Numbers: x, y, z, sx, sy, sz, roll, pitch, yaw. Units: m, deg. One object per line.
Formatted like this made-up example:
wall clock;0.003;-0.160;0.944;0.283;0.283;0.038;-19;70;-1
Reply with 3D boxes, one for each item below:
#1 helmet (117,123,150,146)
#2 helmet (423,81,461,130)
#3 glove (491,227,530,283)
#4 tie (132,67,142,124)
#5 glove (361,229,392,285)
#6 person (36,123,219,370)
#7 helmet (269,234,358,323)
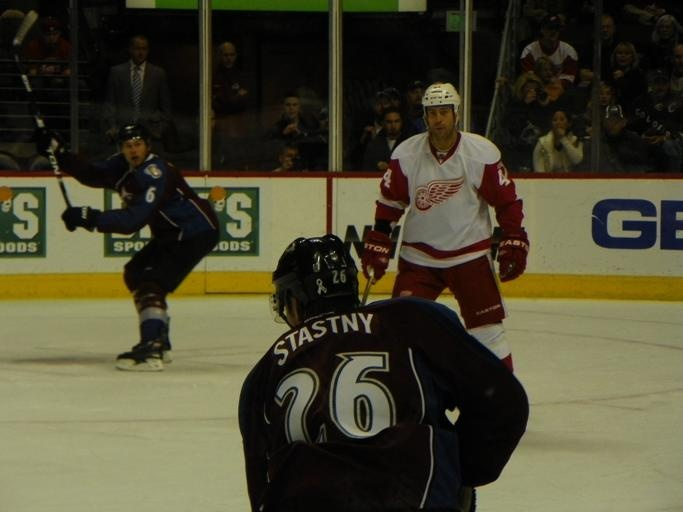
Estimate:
helmet;-1.575;-0.909;8.093;0.221;0.144;0.186;-2;10;-13
helmet;0.652;-0.962;6.734;0.213;0.282;0.272;-1;7;14
glove;1.090;0.001;6.867;0.195;0.335;0.112;4;-10;10
tie;-2.119;-1.677;11.157;0.131;0.578;0.150;-2;10;-11
glove;0.235;0.015;6.898;0.187;0.321;0.088;14;-6;24
person;-1.556;-0.096;8.098;1.182;1.746;0.945;0;10;1
helmet;-0.132;0.078;4.836;0.339;0.425;0.413;-3;11;-20
